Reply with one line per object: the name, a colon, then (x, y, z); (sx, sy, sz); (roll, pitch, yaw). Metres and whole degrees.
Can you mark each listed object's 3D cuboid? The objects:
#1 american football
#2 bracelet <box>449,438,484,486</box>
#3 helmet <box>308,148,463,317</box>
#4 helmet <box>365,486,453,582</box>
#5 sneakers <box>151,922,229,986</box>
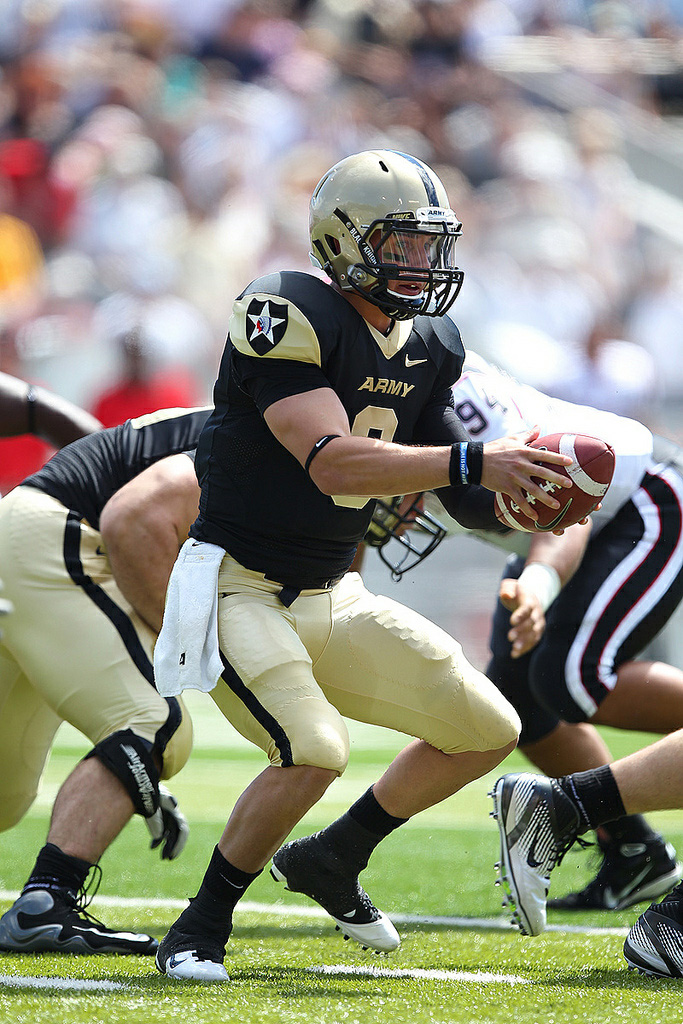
american football: (0.377, -0.049, 1.691); (0.122, 0.211, 0.142); (65, 15, -4)
bracelet: (0.180, -0.074, 1.568); (0.047, 0.062, 0.073); (2, -16, -7)
helmet: (0.082, -0.505, 1.880); (0.303, 0.267, 0.228); (19, 25, 38)
helmet: (0.111, 0.017, 2.449); (0.224, 0.141, 0.176); (51, -3, 18)
sneakers: (-0.226, 0.675, 1.598); (0.051, 0.051, 0.141); (20, -14, -36)
